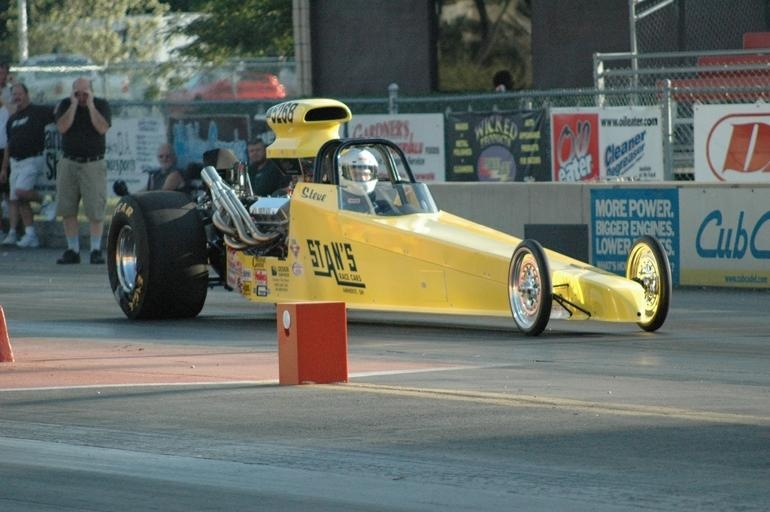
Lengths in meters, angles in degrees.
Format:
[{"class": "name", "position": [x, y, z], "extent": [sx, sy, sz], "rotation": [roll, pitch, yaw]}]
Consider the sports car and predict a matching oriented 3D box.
[{"class": "sports car", "position": [-0.418, -0.534, 16.426], "extent": [6.842, 2.774, 1.798], "rotation": [2, 7, 28]}]

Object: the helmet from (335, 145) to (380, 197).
[{"class": "helmet", "position": [-0.388, -1.050, 16.483], "extent": [0.476, 0.547, 0.554], "rotation": [-3, 3, -25]}]

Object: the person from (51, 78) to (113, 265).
[{"class": "person", "position": [-4.944, -1.429, 22.518], "extent": [1.090, 2.976, 1.241], "rotation": [0, 1, -16]}]

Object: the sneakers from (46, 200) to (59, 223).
[{"class": "sneakers", "position": [-6.270, -0.864, 25.301], "extent": [0.158, 0.386, 0.129], "rotation": [11, -37, -20]}]

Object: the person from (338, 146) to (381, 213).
[{"class": "person", "position": [-0.325, -0.990, 16.500], "extent": [0.500, 0.744, 0.686], "rotation": [1, 11, -13]}]

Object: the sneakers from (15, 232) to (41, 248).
[{"class": "sneakers", "position": [-6.800, -0.304, 25.701], "extent": [0.534, 0.279, 0.203], "rotation": [1, 6, -2]}]
